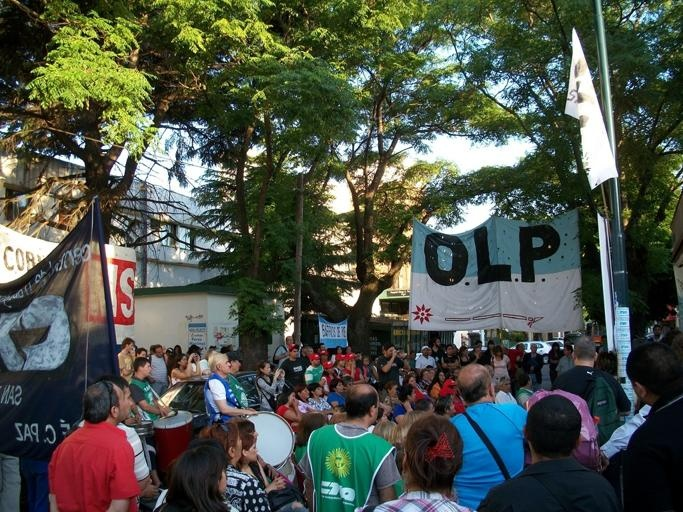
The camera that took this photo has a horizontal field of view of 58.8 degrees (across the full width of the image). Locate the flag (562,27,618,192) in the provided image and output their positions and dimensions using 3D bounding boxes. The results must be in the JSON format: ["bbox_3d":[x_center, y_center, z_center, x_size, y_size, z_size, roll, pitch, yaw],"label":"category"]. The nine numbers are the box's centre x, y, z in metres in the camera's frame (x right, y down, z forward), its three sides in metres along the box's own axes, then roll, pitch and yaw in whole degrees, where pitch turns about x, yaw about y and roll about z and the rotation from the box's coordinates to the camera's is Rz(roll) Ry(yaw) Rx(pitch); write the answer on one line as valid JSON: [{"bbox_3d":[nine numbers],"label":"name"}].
[{"bbox_3d":[3.664,-2.253,9.077,0.719,2.727,0.556,6,-11,-34],"label":"flag"}]

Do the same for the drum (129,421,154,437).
[{"bbox_3d":[-2.302,1.975,7.005,0.160,0.109,0.174,1,-10,0],"label":"drum"}]

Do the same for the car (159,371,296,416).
[{"bbox_3d":[-2.222,2.414,11.054,1.521,0.744,0.879,16,-23,-37],"label":"car"}]
